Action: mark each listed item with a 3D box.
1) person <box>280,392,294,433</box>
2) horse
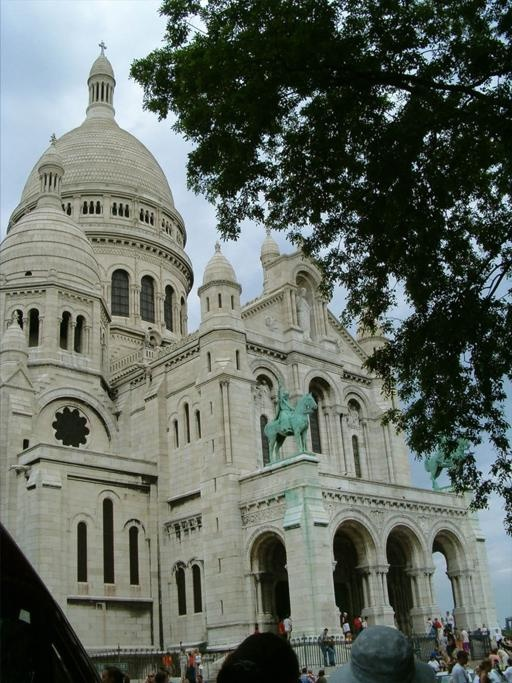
[{"bbox_3d":[1.123,2.745,32.746,0.627,1.686,0.761,-7,-22,1],"label":"person"},{"bbox_3d":[1.168,3.116,32.669,1.874,2.996,1.213,-20,-26,31],"label":"horse"}]
